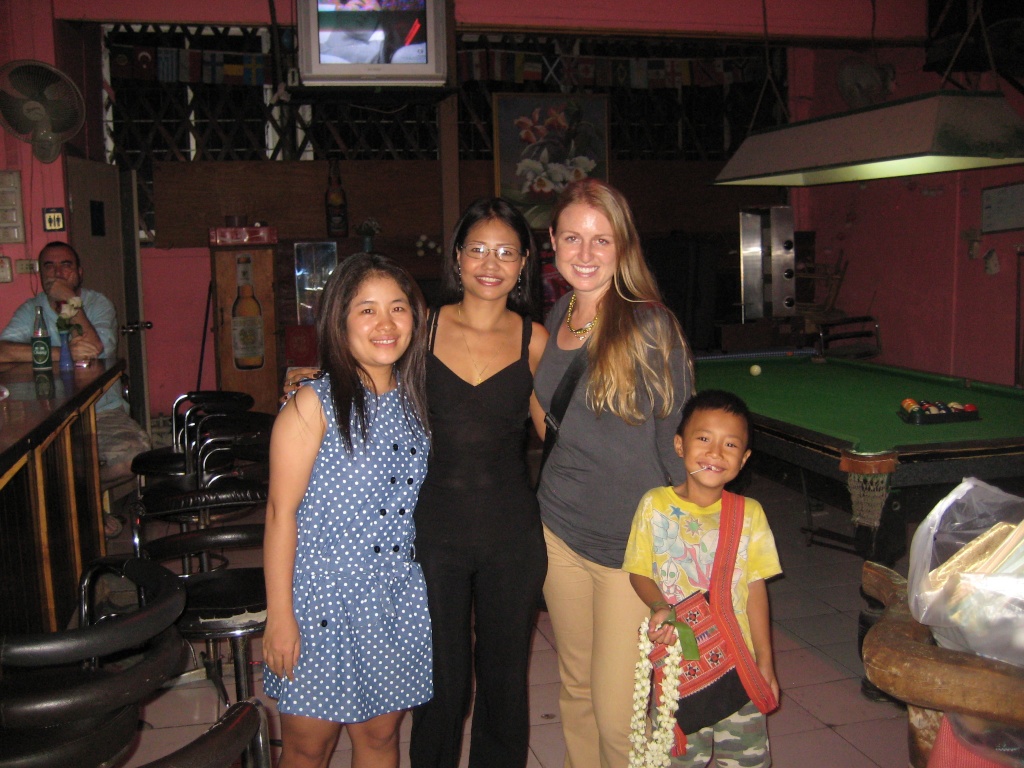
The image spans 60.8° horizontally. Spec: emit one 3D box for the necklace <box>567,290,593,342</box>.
[{"bbox_3d":[0.221,-0.208,2.757,0.099,0.130,0.038,9,15,42],"label":"necklace"}]

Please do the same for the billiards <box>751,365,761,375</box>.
[{"bbox_3d":[1.548,-0.085,5.551,0.039,0.040,0.047,-22,34,39],"label":"billiards"}]

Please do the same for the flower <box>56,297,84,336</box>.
[{"bbox_3d":[-2.498,-0.382,4.868,0.093,0.250,0.187,2,-1,4],"label":"flower"}]
